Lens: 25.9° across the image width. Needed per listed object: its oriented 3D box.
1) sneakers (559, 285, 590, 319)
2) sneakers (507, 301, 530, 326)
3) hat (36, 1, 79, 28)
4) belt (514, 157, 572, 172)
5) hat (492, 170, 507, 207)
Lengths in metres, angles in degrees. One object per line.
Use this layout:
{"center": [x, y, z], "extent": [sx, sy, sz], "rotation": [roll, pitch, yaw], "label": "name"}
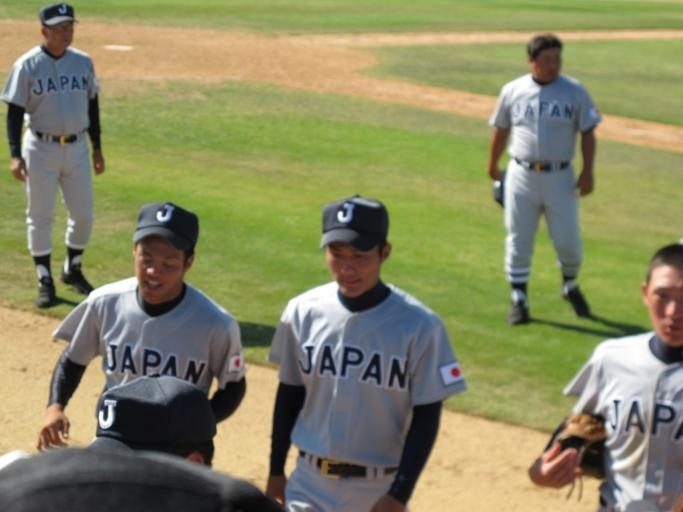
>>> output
{"center": [2.916, 0.543, 18.438], "extent": [0.248, 0.445, 0.164], "rotation": [-31, 0, 17], "label": "sneakers"}
{"center": [2.169, 0.732, 18.046], "extent": [0.168, 0.245, 0.343], "rotation": [1, 8, 3], "label": "sneakers"}
{"center": [-3.480, -2.912, 17.868], "extent": [0.270, 0.193, 0.348], "rotation": [-11, 9, -36], "label": "hat"}
{"center": [2.398, -1.097, 17.805], "extent": [0.658, 0.144, 0.150], "rotation": [7, 17, 10], "label": "belt"}
{"center": [1.900, -0.826, 18.241], "extent": [0.126, 0.391, 0.261], "rotation": [2, 1, 13], "label": "hat"}
